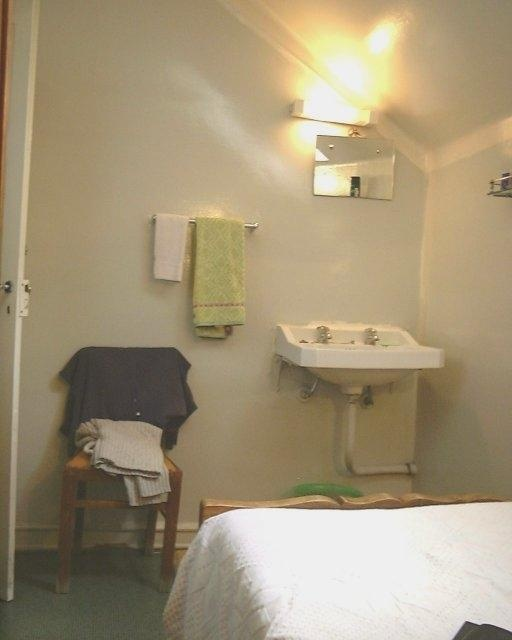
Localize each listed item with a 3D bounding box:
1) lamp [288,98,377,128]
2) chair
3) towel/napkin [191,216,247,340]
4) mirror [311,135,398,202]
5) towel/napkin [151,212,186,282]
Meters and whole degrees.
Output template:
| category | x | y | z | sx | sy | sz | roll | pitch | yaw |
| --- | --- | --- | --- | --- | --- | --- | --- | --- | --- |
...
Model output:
| category | x | y | z | sx | sy | sz | roll | pitch | yaw |
| --- | --- | --- | --- | --- | --- | --- | --- | --- | --- |
| lamp | 0.346 | -0.921 | 2.651 | 0.400 | 0.106 | 0.114 | 4 | 5 | -18 |
| chair | -0.477 | 0.526 | 2.266 | 0.551 | 0.802 | 0.546 | 4 | 5 | -18 |
| towel/napkin | -0.163 | -0.187 | 2.502 | 0.259 | 0.496 | 0.072 | -4 | 7 | -41 |
| mirror | 0.422 | -0.685 | 2.708 | 0.371 | 0.224 | 0.016 | 1 | 6 | -17 |
| towel/napkin | -0.358 | -0.298 | 2.457 | 0.129 | 0.261 | 0.040 | 5 | 6 | -17 |
